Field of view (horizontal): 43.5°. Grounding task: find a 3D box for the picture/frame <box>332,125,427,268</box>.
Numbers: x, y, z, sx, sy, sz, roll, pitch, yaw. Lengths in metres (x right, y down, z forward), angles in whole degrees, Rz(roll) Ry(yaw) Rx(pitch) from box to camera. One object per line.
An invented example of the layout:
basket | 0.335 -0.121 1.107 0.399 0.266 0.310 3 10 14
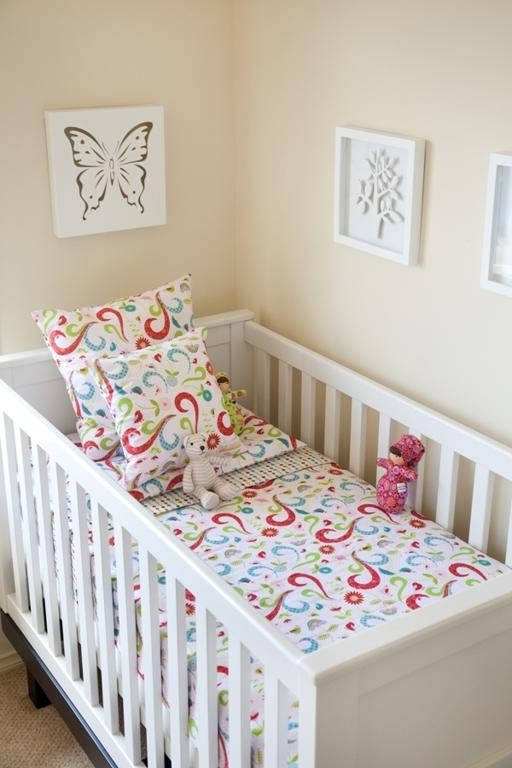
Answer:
picture/frame | 0.293 -0.450 1.502 0.035 0.298 0.305 -15 30 -27

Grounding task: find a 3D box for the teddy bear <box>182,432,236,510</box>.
teddy bear | -0.122 0.202 1.534 0.105 0.158 0.131 -18 27 -32
